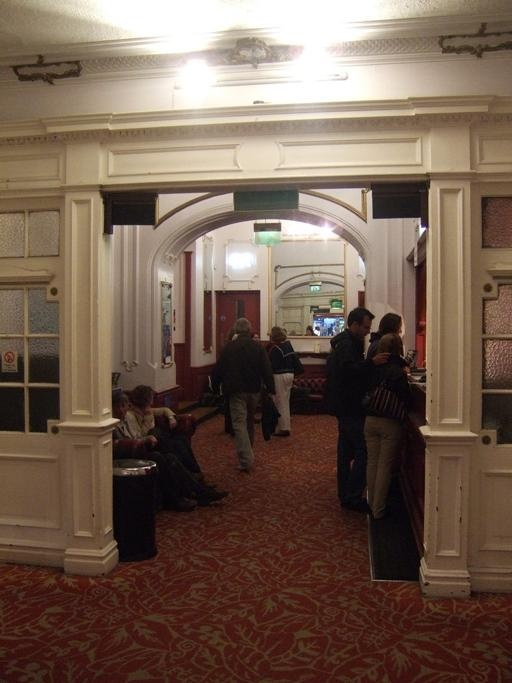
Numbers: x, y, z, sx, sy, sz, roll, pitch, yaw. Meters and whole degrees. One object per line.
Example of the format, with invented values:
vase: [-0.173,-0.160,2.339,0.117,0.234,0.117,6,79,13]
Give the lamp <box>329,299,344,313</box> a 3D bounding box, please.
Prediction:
lamp: [2.325,-1.036,15.968,0.294,0.278,0.395,-1,3,-2]

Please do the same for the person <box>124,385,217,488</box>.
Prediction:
person: [-0.815,0.810,4.742,0.602,0.827,0.432,-7,4,17]

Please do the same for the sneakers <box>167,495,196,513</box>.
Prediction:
sneakers: [-0.600,1.302,4.547,0.273,0.191,0.090,0,10,-7]

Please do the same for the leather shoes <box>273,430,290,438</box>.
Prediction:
leather shoes: [0.357,1.293,7.799,0.231,0.090,0.084,3,0,-2]

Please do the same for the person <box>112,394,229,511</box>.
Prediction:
person: [-0.752,0.877,4.627,1.008,1.028,0.869,-1,4,0]

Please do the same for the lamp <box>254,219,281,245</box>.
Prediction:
lamp: [0.199,-1.788,9.062,0.407,0.299,0.407,0,7,2]
